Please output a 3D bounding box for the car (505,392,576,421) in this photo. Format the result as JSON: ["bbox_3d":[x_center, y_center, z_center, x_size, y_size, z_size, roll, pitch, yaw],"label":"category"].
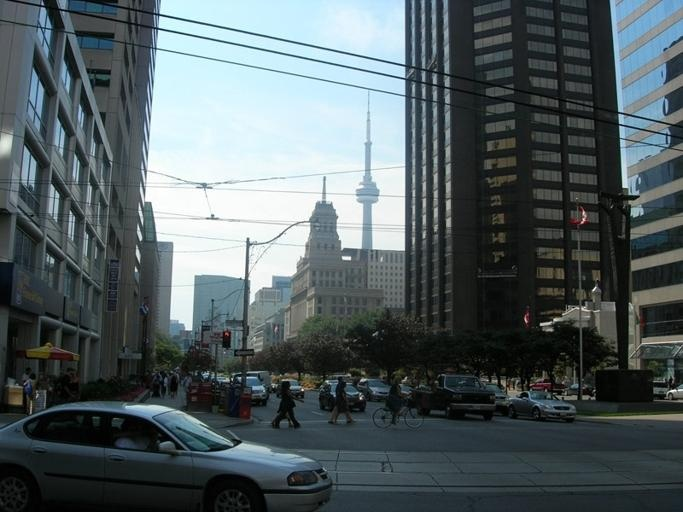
[{"bbox_3d":[10.193,7.748,38.924,1.801,1.394,4.176,0,-6,-5],"label":"car"}]

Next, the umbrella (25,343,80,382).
[{"bbox_3d":[-13.953,5.338,36.506,1.656,2.165,2.508,5,-7,-14],"label":"umbrella"}]

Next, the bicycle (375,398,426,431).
[{"bbox_3d":[2.550,7.055,33.562,2.405,1.557,1.219,-1,-1,-2],"label":"bicycle"}]

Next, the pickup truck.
[{"bbox_3d":[5.824,7.332,39.995,2.732,2.117,5.985,4,-10,-18],"label":"pickup truck"}]

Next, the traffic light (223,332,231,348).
[{"bbox_3d":[-6.184,4.507,41.258,0.347,0.861,0.927,4,-14,-14],"label":"traffic light"}]
